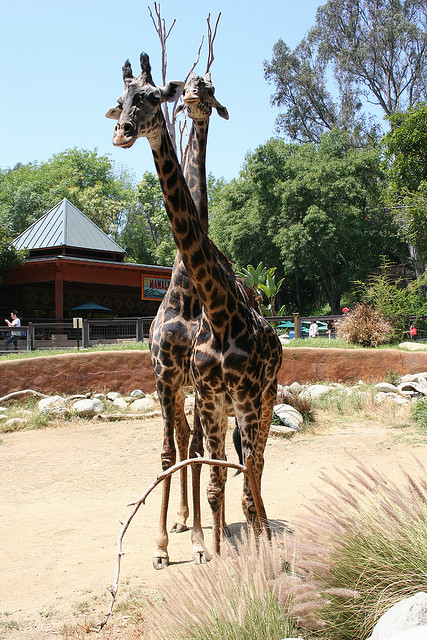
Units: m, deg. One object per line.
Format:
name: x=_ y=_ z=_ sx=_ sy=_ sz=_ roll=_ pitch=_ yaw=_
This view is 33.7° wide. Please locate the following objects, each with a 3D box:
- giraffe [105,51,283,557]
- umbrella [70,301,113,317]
giraffe: x=-0.041 y=0.014 z=4.098 sx=0.726 sy=2.914 sz=2.266 roll=-4 pitch=0 yaw=7
umbrella: x=-4.681 y=-0.446 z=27.404 sx=1.165 sy=0.596 sz=2.585 roll=-4 pitch=0 yaw=-5
